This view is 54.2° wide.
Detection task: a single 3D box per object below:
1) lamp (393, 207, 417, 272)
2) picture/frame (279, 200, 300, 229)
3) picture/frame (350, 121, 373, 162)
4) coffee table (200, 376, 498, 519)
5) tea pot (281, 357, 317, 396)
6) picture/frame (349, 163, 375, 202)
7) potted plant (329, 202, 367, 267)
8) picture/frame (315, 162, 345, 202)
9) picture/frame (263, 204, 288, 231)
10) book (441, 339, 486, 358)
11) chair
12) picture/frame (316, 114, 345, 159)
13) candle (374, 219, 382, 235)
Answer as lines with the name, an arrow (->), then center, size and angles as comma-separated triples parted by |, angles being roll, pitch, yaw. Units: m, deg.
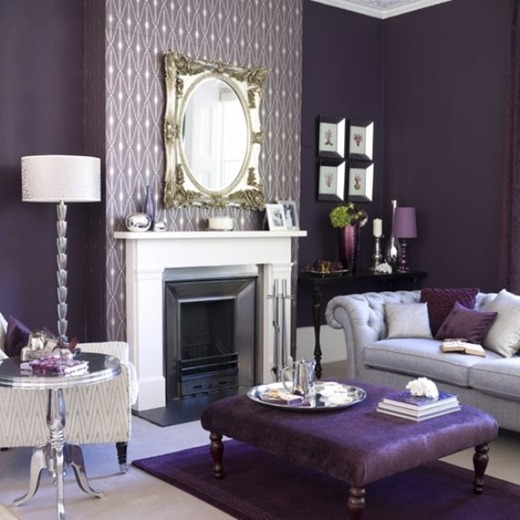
lamp -> 1.537, -0.218, 5.356 | 0.234, 0.686, 0.419 | 0, -1, 18
picture/frame -> 0.263, -0.410, 4.609 | 0.022, 0.314, 0.260 | -11, -10, 38
picture/frame -> 1.097, -1.294, 5.515 | 0.432, 0.556, 0.050 | -1, 2, -36
coffee table -> 0.410, 0.891, 2.455 | 0.983, 0.396, 1.064 | 1, -2, -40
tea pot -> 0.194, 0.602, 2.511 | 0.168, 0.176, 0.100 | -2, 0, -18
picture/frame -> 1.110, -0.853, 5.558 | 0.409, 0.507, 0.048 | -1, 3, -35
potted plant -> 0.900, -0.227, 5.150 | 0.223, 0.695, 0.415 | 0, -1, 40
picture/frame -> 0.725, -0.824, 5.322 | 0.410, 0.504, 0.052 | -2, 3, -37
picture/frame -> 0.136, -0.374, 4.513 | 0.023, 0.294, 0.234 | -17, -11, 43
book -> 1.373, 0.591, 3.434 | 0.276, 0.089, 0.225 | 0, -1, 22
chair -> -1.065, 0.623, 2.786 | 0.691, 0.760, 0.667 | 0, -1, -30
picture/frame -> 0.731, -1.295, 5.304 | 0.457, 0.570, 0.054 | -2, 3, -35
candle -> 1.280, -0.349, 5.522 | 0.093, 0.221, 0.342 | 0, -1, 13
